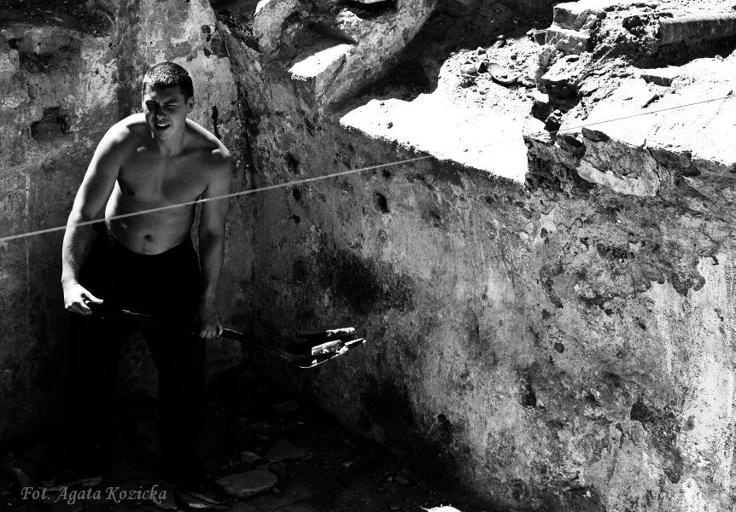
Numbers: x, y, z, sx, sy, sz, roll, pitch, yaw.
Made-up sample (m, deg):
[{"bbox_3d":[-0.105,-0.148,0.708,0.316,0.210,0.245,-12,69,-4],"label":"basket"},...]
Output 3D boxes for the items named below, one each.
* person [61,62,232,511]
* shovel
[{"bbox_3d":[-1.031,0.166,4.313,0.738,2.024,0.734,2,35,-9],"label":"person"},{"bbox_3d":[-0.732,0.390,4.618,1.356,0.179,0.151,11,22,-12],"label":"shovel"}]
